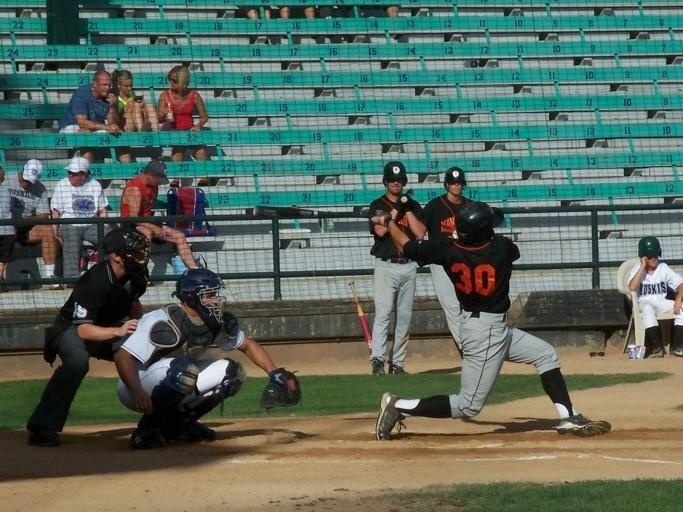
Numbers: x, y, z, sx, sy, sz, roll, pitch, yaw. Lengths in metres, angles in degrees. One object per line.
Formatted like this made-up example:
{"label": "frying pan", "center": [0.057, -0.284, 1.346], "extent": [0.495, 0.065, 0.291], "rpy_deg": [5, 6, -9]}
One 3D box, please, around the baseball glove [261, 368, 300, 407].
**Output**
{"label": "baseball glove", "center": [-0.826, 1.709, 21.519], "extent": [0.401, 0.511, 0.654], "rpy_deg": [1, 10, 31]}

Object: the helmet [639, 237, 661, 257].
{"label": "helmet", "center": [5.036, -0.177, 26.130], "extent": [0.280, 0.286, 0.365], "rpy_deg": [-2, -25, 6]}

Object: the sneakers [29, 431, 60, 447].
{"label": "sneakers", "center": [-3.958, 2.383, 21.476], "extent": [0.324, 0.104, 0.203], "rpy_deg": [1, 1, 5]}

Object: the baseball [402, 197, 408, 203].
{"label": "baseball", "center": [0.895, -0.798, 22.524], "extent": [0.083, 0.091, 0.155], "rpy_deg": [-1, 3, 5]}

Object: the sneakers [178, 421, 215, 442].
{"label": "sneakers", "center": [-1.923, 2.316, 21.817], "extent": [0.588, 0.230, 0.189], "rpy_deg": [-3, 12, -4]}

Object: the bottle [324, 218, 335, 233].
{"label": "bottle", "center": [-0.204, -0.558, 28.309], "extent": [0.234, 0.212, 0.205], "rpy_deg": [-1, -1, 9]}

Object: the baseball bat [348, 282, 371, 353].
{"label": "baseball bat", "center": [0.297, 1.009, 26.237], "extent": [0.168, 1.346, 0.156], "rpy_deg": [-19, -37, -6]}

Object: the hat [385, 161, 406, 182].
{"label": "hat", "center": [0.820, -1.267, 24.392], "extent": [0.330, 0.312, 0.323], "rpy_deg": [-1, 4, -1]}

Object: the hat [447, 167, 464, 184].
{"label": "hat", "center": [1.721, -1.202, 23.976], "extent": [0.226, 0.242, 0.266], "rpy_deg": [0, -7, -9]}

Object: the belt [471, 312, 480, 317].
{"label": "belt", "center": [1.794, 0.743, 21.314], "extent": [0.080, 0.073, 0.020], "rpy_deg": [1, -8, 6]}

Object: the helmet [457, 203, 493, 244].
{"label": "helmet", "center": [1.829, -0.486, 21.468], "extent": [0.468, 0.516, 0.571], "rpy_deg": [8, 19, 17]}

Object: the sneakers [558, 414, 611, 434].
{"label": "sneakers", "center": [3.282, 2.205, 21.645], "extent": [0.705, 0.276, 0.265], "rpy_deg": [-4, 0, -1]}

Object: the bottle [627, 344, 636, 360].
{"label": "bottle", "center": [4.661, 1.486, 25.761], "extent": [0.190, 0.177, 0.181], "rpy_deg": [-1, -1, 1]}
